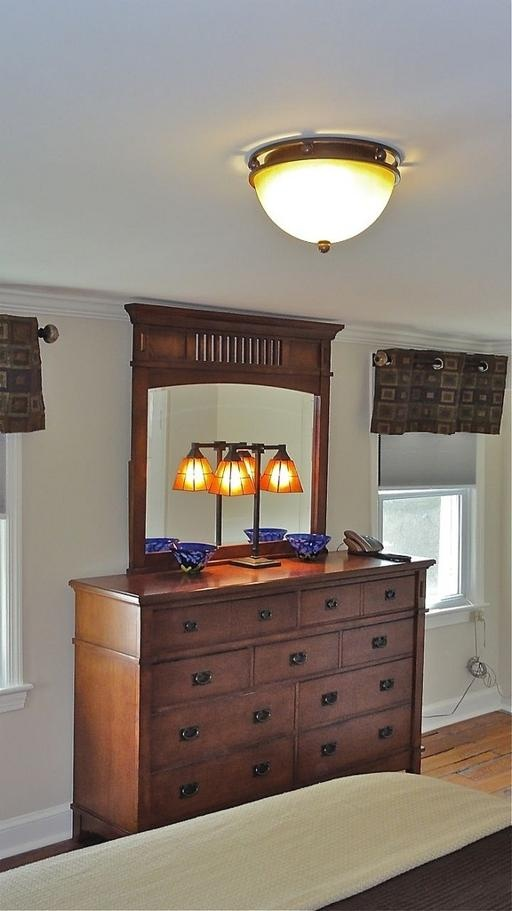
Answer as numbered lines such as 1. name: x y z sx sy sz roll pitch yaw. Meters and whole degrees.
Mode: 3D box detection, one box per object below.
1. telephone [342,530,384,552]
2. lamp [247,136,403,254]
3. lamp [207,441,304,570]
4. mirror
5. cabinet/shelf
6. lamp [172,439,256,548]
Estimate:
1. telephone: 0.518 0.416 3.723 0.109 0.056 0.148 3 1 -27
2. lamp: 0.138 -0.494 1.474 0.308 0.189 0.312 -2 7 -11
3. lamp: -0.026 0.235 3.407 0.210 0.652 0.538 3 2 41
4. mirror: -0.137 -0.088 3.325 1.099 1.214 0.091 -2 4 -41
5. cabinet/shelf: 0.029 0.993 3.198 1.469 1.051 0.525 -1 2 -35
6. lamp: -0.170 0.214 3.401 0.415 0.559 0.370 -4 16 -26
